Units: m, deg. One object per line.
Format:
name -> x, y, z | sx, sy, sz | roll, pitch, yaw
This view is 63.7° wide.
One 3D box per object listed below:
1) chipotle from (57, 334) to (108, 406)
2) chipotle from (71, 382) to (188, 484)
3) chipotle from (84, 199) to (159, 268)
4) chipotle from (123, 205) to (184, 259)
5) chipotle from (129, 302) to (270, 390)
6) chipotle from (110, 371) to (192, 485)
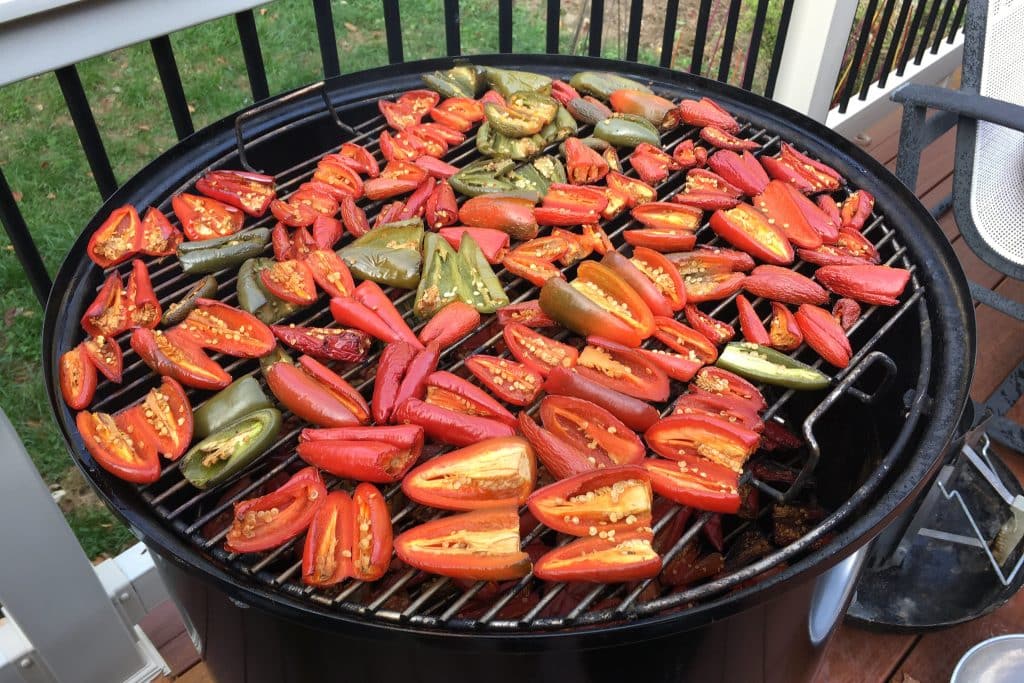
chipotle -> -1.024, 0.069, 1.949 | 0.072, 0.044, 0.140 | -24, 61, 5
chipotle -> -0.841, 0.203, 1.936 | 0.282, 0.066, 0.214 | 19, 53, 34
chipotle -> -1.015, -0.273, 2.146 | 0.117, 0.051, 0.161 | 19, 65, 9
chipotle -> -0.922, -0.275, 2.148 | 0.101, 0.043, 0.131 | -13, 72, -7
chipotle -> -0.738, 0.012, 2.001 | 0.250, 0.086, 0.247 | 32, 57, 16
chipotle -> -0.812, 0.194, 1.911 | 0.170, 0.047, 0.226 | -17, 66, -3
